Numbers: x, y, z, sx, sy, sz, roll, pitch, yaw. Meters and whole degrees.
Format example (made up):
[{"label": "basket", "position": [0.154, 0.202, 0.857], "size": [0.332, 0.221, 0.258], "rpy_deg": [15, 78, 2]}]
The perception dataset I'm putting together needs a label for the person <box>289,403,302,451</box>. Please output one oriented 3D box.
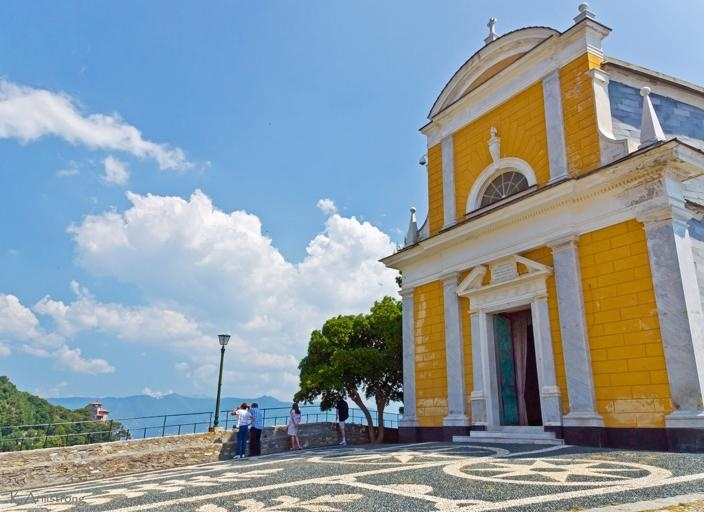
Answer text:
[{"label": "person", "position": [-2.174, 6.410, 18.033], "size": [0.506, 1.643, 1.387], "rpy_deg": [3, -22, -5]}]
